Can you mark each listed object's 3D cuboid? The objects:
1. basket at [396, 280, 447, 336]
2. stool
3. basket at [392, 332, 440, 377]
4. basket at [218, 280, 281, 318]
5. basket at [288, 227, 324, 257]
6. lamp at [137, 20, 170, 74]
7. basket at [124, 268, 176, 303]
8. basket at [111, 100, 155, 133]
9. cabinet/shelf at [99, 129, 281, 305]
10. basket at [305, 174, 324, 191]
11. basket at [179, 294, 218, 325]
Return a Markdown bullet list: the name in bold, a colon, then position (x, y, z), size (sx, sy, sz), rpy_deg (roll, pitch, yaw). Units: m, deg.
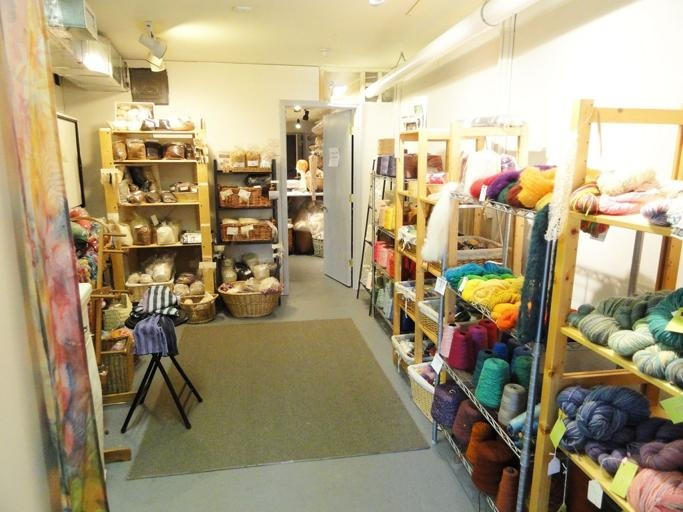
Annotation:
- **basket**: position (0.617, 0.382, 3.772), size (0.452, 0.208, 0.770), rpy_deg (0, 3, -7)
- **stool**: position (-1.258, 0.771, 3.474), size (0.477, 0.732, 0.464), rpy_deg (0, 1, -7)
- **basket**: position (0.579, 0.815, 4.068), size (0.235, 0.142, 0.346), rpy_deg (-2, 8, -9)
- **basket**: position (-1.018, 0.478, 5.607), size (0.682, 0.307, 0.701), rpy_deg (-8, 10, -25)
- **basket**: position (-0.574, -0.255, 8.569), size (0.505, 0.562, 0.499), rpy_deg (1, 3, 29)
- **lamp**: position (-1.755, -2.028, 4.620), size (0.112, 0.324, 0.167), rpy_deg (-18, 24, -20)
- **basket**: position (-2.176, 0.301, 5.458), size (0.459, 0.207, 0.476), rpy_deg (-1, 7, -10)
- **basket**: position (-2.246, -1.516, 5.295), size (0.414, 0.328, 0.397), rpy_deg (-5, 13, -14)
- **cabinet/shelf**: position (-2.005, -0.499, 5.591), size (1.183, 1.863, 0.847), rpy_deg (-6, 13, -18)
- **basket**: position (-0.460, -1.261, 8.391), size (0.323, 0.177, 0.470), rpy_deg (0, 9, -2)
- **basket**: position (-1.526, 0.558, 5.270), size (0.365, 0.266, 0.448), rpy_deg (0, 2, -5)
